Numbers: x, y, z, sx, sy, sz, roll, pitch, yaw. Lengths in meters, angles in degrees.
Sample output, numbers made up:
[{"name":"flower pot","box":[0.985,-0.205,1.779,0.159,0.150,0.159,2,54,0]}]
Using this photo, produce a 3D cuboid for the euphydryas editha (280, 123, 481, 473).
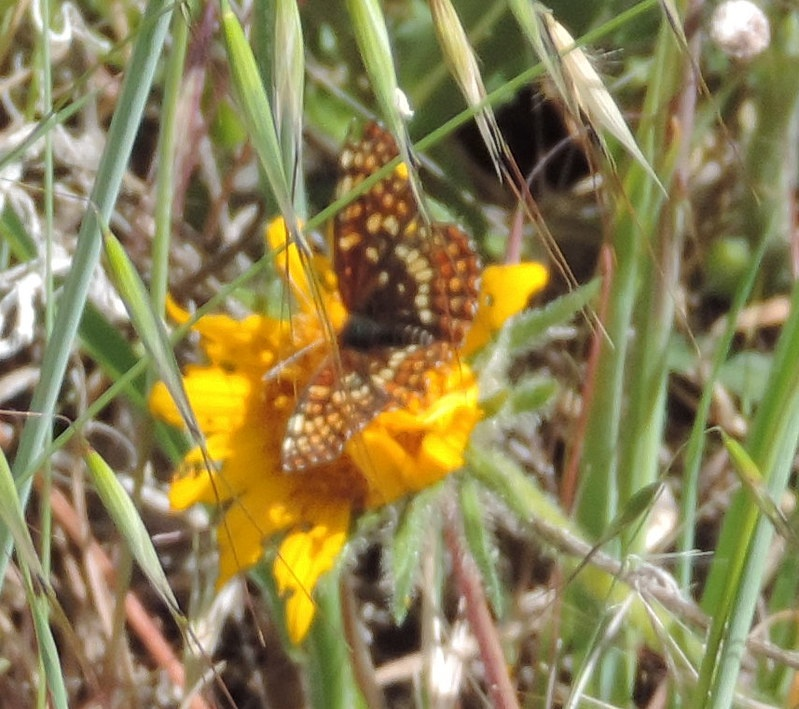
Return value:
[{"name":"euphydryas editha","box":[-0.007,-0.019,1.013,0.127,0.137,0.257,13,82,-1]}]
